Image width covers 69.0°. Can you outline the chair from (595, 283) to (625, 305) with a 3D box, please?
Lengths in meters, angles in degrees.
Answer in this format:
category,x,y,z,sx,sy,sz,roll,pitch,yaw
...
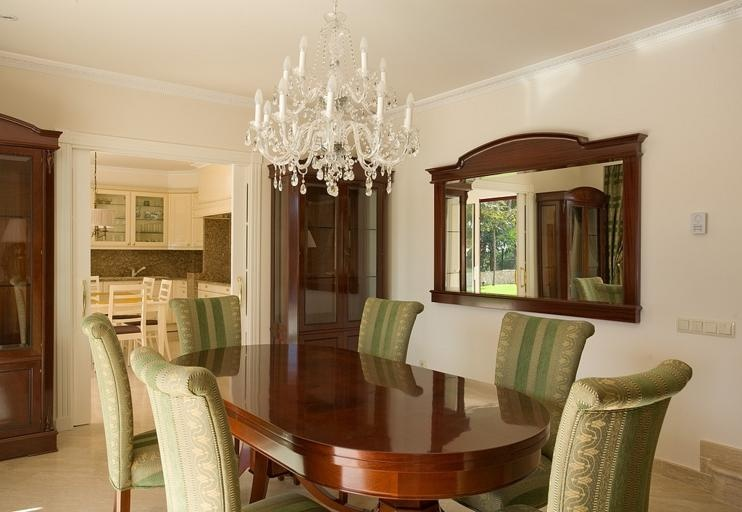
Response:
category,x,y,z,sx,sy,sz,roll,pitch,yaw
chair,1.939,0.296,4.335,0.139,0.140,0.150,-4,-4,14

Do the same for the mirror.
category,x,y,z,sx,sy,sz,roll,pitch,yaw
mirror,1.515,-0.245,4.728,0.194,1.479,1.821,4,-5,-38

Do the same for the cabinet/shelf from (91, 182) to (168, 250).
category,x,y,z,sx,sy,sz,roll,pitch,yaw
cabinet/shelf,-4.116,-0.688,9.073,1.174,1.032,0.413,2,-5,-37
